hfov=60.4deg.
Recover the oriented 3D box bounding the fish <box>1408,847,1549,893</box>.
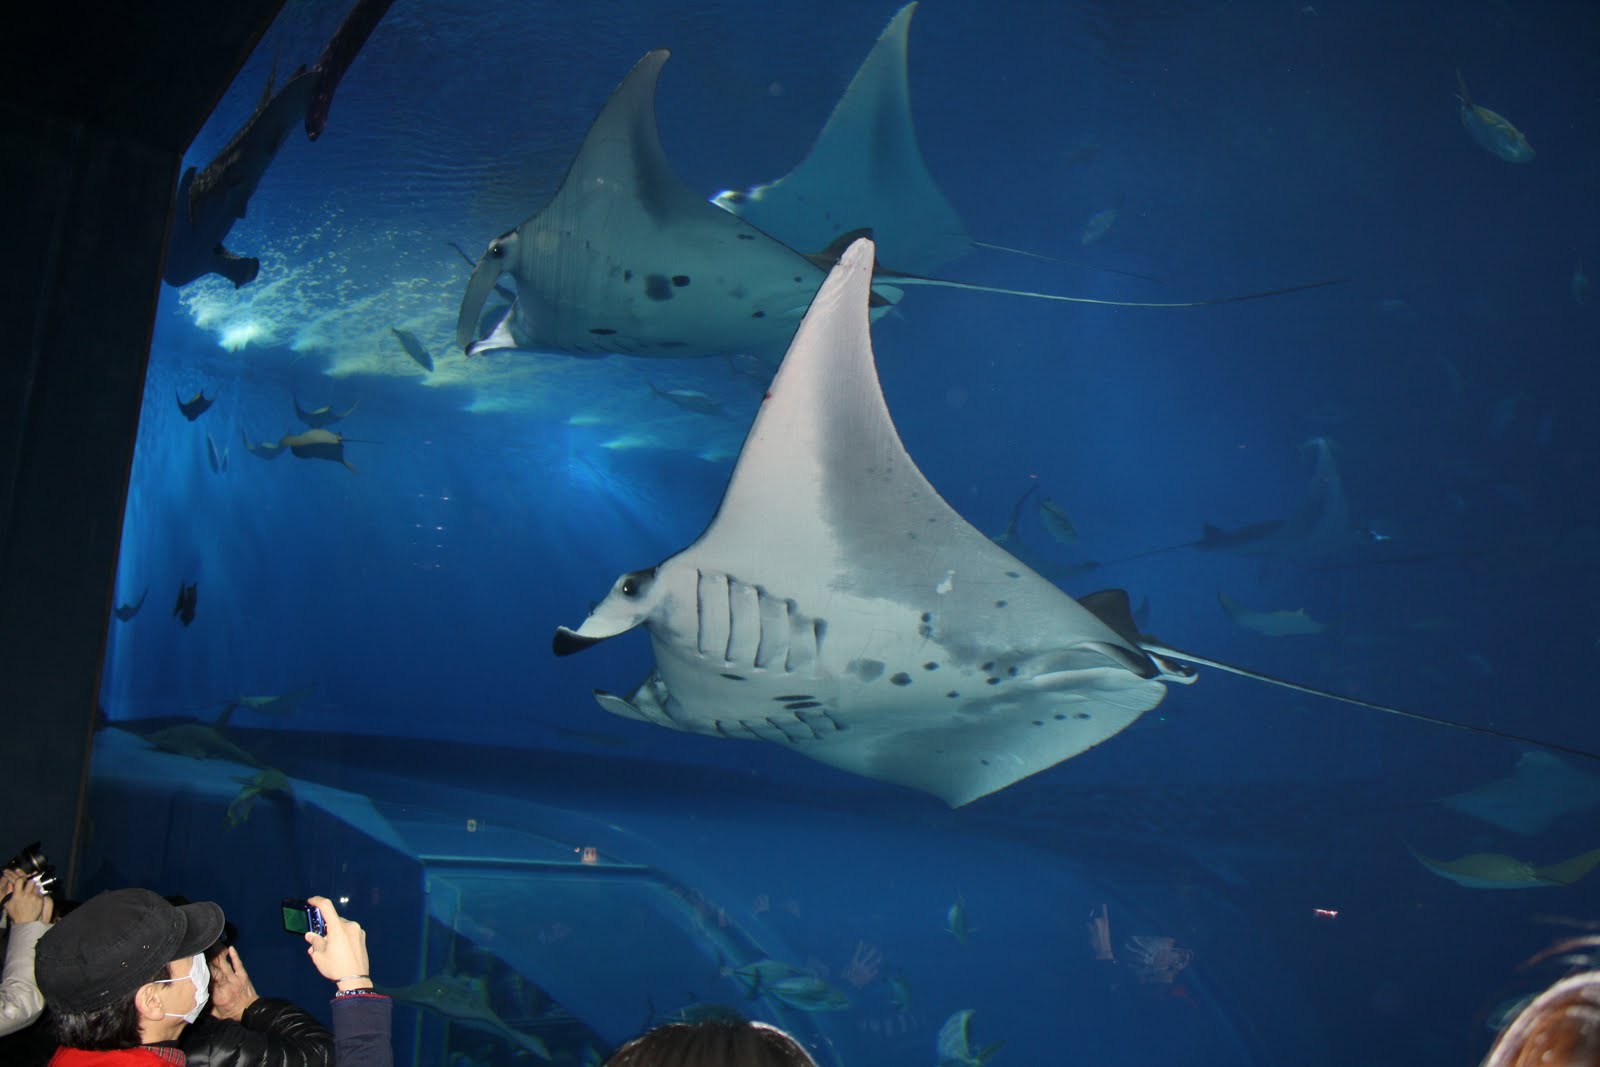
[{"bbox_3d":[2.816,1.390,5.666,0.620,0.162,0.023,5,-3,-13],"label":"fish"}]

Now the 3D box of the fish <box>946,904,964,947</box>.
[{"bbox_3d":[0.636,1.608,5.617,0.063,0.148,0.077,-6,-11,18],"label":"fish"}]

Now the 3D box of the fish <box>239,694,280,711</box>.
[{"bbox_3d":[-2.435,0.753,6.172,0.216,0.057,0.013,2,-4,25],"label":"fish"}]

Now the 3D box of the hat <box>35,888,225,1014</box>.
[{"bbox_3d":[-2.021,1.205,4.077,0.483,0.328,0.190,-21,-38,-17],"label":"hat"}]

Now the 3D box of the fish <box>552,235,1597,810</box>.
[{"bbox_3d":[0.323,0.011,5.497,2.206,2.143,0.865,4,-3,-7],"label":"fish"}]

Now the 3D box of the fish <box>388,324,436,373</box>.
[{"bbox_3d":[-1.696,-0.821,6.055,0.233,0.114,0.081,40,35,9],"label":"fish"}]

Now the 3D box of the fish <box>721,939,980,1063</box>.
[{"bbox_3d":[0.211,1.939,5.726,1.055,0.383,0.164,9,17,-2],"label":"fish"}]

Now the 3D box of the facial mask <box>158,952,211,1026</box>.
[{"bbox_3d":[-1.816,1.364,4.094,0.165,0.132,0.142,1,0,-18],"label":"facial mask"}]

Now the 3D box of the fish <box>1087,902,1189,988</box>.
[{"bbox_3d":[1.371,1.679,5.593,0.420,0.299,0.027,4,-3,-2],"label":"fish"}]

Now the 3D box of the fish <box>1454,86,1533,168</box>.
[{"bbox_3d":[2.923,-1.715,5.834,0.152,0.448,0.065,-17,-39,-4],"label":"fish"}]

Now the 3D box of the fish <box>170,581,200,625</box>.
[{"bbox_3d":[-2.884,0.319,6.443,0.174,0.177,0.054,26,10,38],"label":"fish"}]
